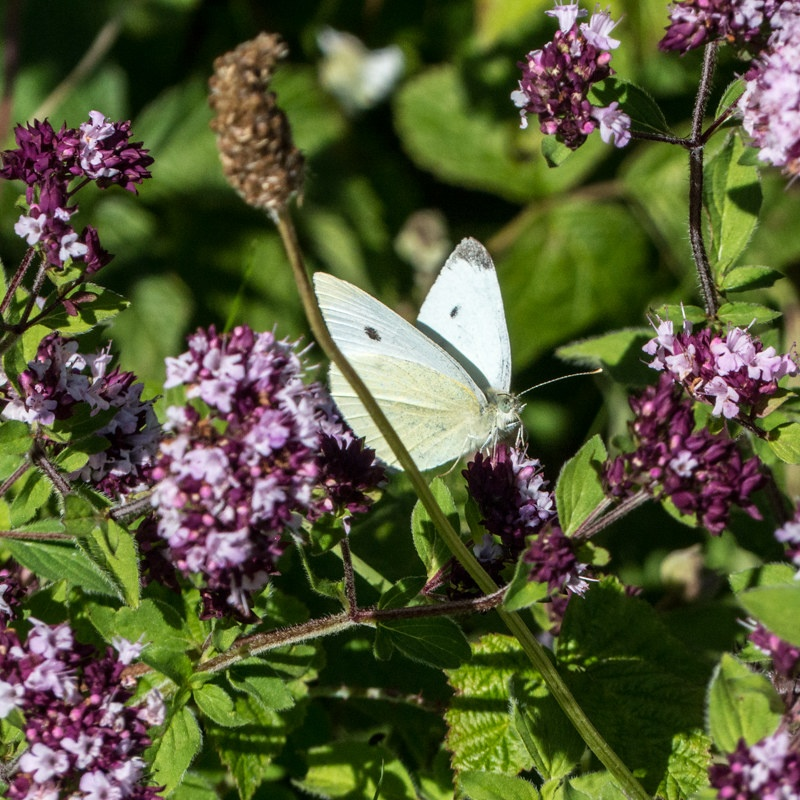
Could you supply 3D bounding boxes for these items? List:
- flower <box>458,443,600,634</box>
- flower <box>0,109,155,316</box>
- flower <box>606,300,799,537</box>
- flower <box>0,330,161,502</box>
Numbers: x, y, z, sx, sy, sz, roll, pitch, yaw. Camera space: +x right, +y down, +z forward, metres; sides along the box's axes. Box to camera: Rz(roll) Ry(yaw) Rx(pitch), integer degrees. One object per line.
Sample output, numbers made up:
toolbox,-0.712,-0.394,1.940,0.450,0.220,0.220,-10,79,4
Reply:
flower,0.291,0.280,2.325,0.297,0.149,0.323,-40,52,28
flower,-0.752,-0.446,2.419,0.336,0.197,0.446,21,80,-21
flower,0.618,0.061,2.213,0.470,0.195,0.442,-10,79,8
flower,-0.688,0.030,2.409,0.374,0.228,0.261,41,80,20
